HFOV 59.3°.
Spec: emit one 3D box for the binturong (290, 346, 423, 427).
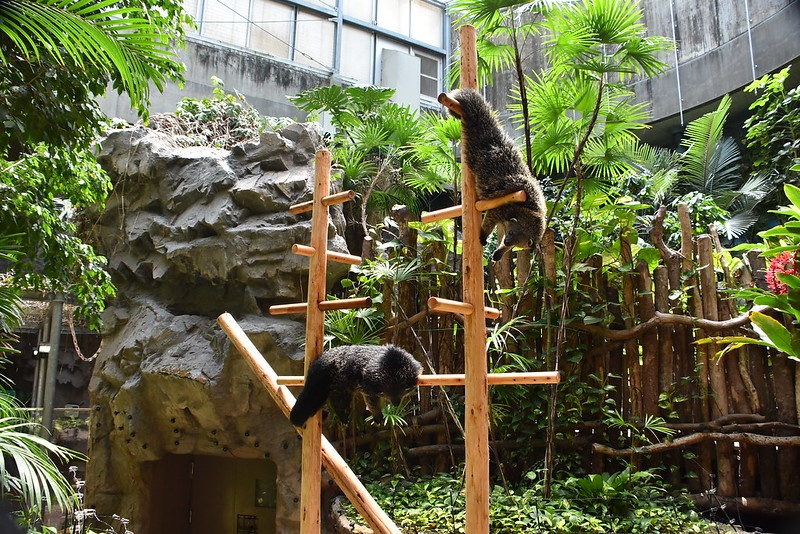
[{"bbox_3d":[-0.413,1.126,6.627,1.235,0.722,0.652,-4,-7,14],"label":"binturong"}]
